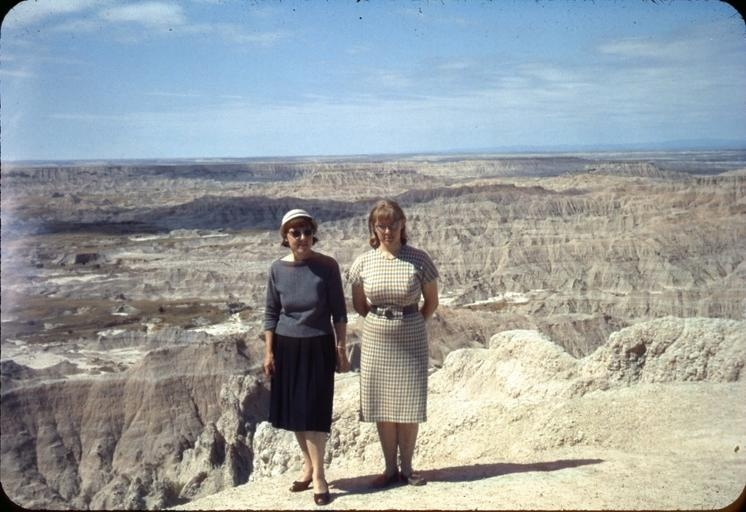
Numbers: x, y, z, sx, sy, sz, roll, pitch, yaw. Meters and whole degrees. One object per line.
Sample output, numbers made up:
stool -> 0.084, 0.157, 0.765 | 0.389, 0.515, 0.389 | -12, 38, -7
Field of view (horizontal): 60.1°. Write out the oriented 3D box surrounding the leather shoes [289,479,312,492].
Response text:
leather shoes -> -0.851, 2.695, 7.554 | 0.238, 0.055, 0.109 | 8, -11, -43

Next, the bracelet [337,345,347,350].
bracelet -> -0.353, 1.051, 7.382 | 0.053, 0.037, 0.052 | 1, 0, -34

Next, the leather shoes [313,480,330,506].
leather shoes -> -0.574, 2.689, 7.341 | 0.202, 0.254, 0.135 | -6, -1, -16

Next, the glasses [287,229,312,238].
glasses -> -0.809, -0.264, 7.286 | 0.234, 0.094, 0.055 | -5, -1, -14

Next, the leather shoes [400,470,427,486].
leather shoes -> 0.473, 2.640, 7.659 | 0.134, 0.083, 0.243 | 5, -9, -41

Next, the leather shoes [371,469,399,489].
leather shoes -> 0.152, 2.668, 7.659 | 0.134, 0.138, 0.371 | -14, -17, 42
